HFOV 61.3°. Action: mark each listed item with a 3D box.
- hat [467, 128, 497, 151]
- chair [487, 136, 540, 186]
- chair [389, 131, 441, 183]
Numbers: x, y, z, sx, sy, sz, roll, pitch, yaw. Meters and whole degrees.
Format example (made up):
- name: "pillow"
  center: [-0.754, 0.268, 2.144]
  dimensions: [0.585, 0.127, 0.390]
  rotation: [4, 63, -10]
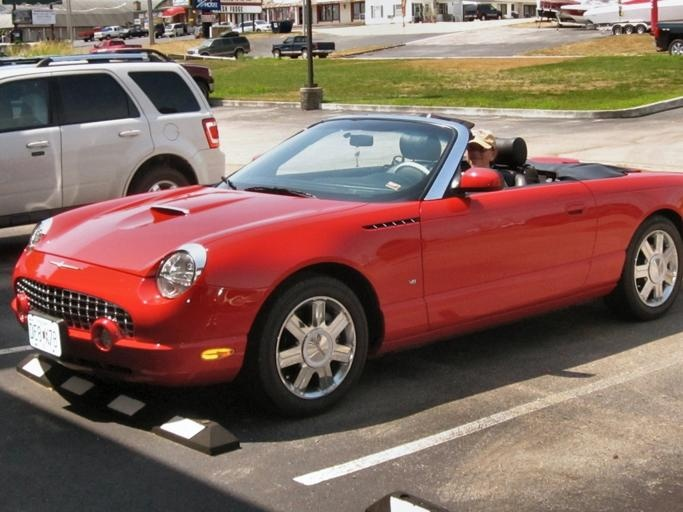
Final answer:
- name: "hat"
  center: [1.194, -1.048, 4.962]
  dimensions: [0.289, 0.112, 0.393]
  rotation: [2, 2, 28]
- name: "chair"
  center: [1.589, -0.846, 5.380]
  dimensions: [0.582, 0.437, 0.358]
  rotation: [5, 2, -42]
- name: "chair"
  center: [0.572, -0.742, 4.279]
  dimensions: [0.389, 0.392, 0.473]
  rotation: [2, 11, 17]
